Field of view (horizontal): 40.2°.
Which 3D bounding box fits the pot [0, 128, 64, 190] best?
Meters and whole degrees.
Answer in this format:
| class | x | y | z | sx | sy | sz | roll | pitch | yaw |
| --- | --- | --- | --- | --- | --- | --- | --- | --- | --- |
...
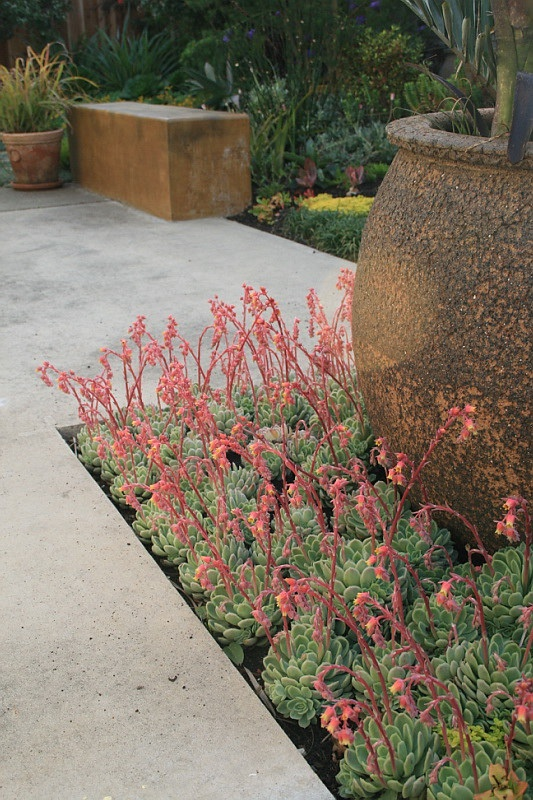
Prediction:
| class | x | y | z | sx | sy | sz | roll | pitch | yaw |
| --- | --- | --- | --- | --- | --- | --- | --- | --- | --- |
| pot | -2.137 | -2.203 | 6.717 | 0.516 | 0.544 | 0.414 | -5 | 20 | -19 |
